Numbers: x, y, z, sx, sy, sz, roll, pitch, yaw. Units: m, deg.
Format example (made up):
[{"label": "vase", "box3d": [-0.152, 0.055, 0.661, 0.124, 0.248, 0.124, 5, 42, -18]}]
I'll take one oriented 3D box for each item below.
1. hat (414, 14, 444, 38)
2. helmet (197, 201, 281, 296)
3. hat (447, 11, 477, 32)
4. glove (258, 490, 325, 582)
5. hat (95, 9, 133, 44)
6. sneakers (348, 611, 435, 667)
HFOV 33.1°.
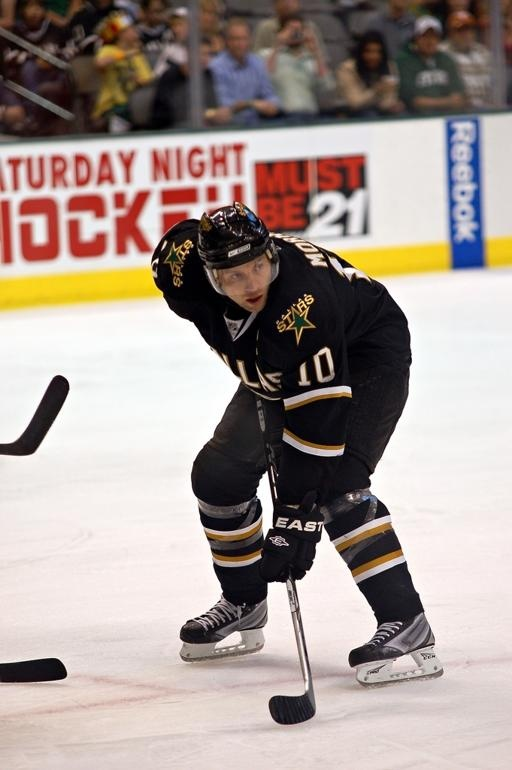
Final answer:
[{"label": "hat", "box3d": [1.071, -2.225, 5.322, 0.152, 0.083, 0.147, -6, 9, -40]}, {"label": "helmet", "box3d": [-0.056, -0.229, 1.446, 0.125, 0.145, 0.148, -27, -7, -5]}, {"label": "hat", "box3d": [1.275, -2.243, 5.319, 0.144, 0.090, 0.131, -14, -20, 0]}, {"label": "glove", "box3d": [0.060, 0.264, 1.503, 0.105, 0.152, 0.068, 18, 11, -7]}, {"label": "hat", "box3d": [-0.827, -2.077, 5.016, 0.231, 0.180, 0.053, 0, 13, 22]}, {"label": "sneakers", "box3d": [0.252, 0.459, 1.545, 0.211, 0.070, 0.064, -10, -20, -15]}]
